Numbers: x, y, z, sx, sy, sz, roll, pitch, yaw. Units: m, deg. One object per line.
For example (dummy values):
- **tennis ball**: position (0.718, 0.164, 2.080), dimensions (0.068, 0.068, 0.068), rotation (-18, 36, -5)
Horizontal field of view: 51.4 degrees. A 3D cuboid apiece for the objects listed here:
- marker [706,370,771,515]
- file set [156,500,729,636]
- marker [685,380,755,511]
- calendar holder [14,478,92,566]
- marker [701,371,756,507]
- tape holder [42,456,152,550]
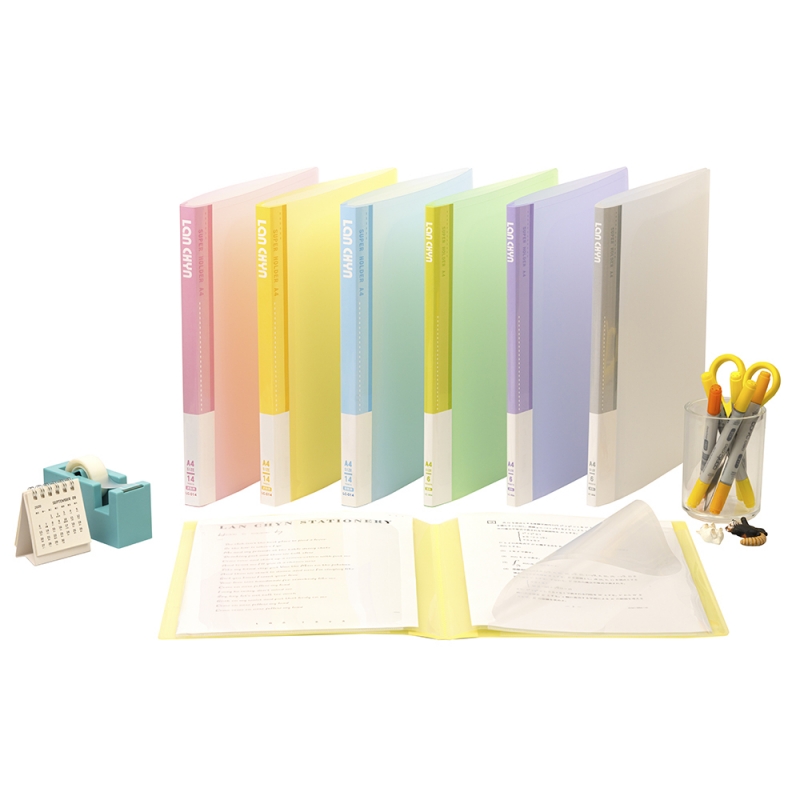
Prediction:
- **marker**: position (1.068, 0.119, 2.577), dimensions (0.218, 0.459, 0.097), rotation (-9, 15, -39)
- **file set**: position (0.098, 0.400, 2.106), dimensions (1.479, 0.177, 0.926), rotation (1, 9, -6)
- **marker**: position (1.000, 0.137, 2.587), dimensions (0.173, 0.407, 0.154), rotation (14, -8, -23)
- **calendar holder**: position (-0.991, 0.337, 2.363), dimensions (0.203, 0.215, 0.127), rotation (-7, 14, -29)
- **marker**: position (1.017, 0.127, 2.596), dimensions (0.116, 0.461, 0.176), rotation (6, 1, -1)
- **tape holder**: position (-0.865, 0.313, 2.360), dimensions (0.304, 0.183, 0.283), rotation (-16, 44, -30)
